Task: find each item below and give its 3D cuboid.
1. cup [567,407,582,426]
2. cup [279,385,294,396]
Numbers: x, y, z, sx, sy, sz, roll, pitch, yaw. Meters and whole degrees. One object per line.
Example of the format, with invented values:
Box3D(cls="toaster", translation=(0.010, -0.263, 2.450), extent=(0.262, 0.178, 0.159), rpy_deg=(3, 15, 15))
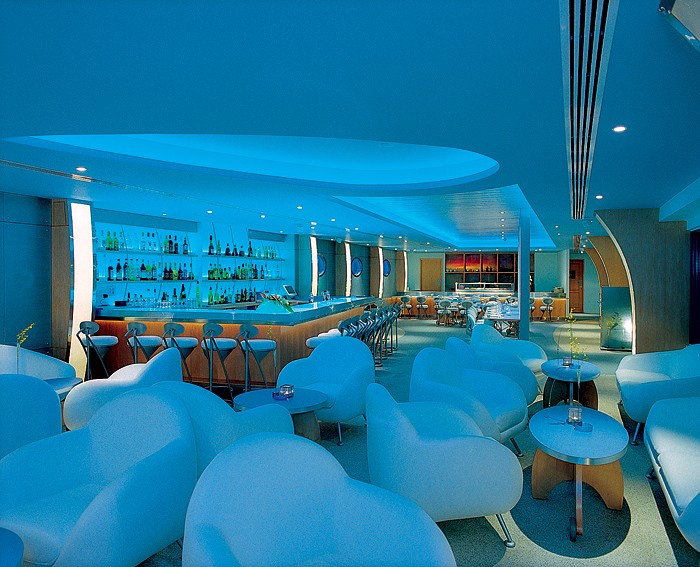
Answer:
Box3D(cls="cup", translation=(1.657, 0.981, 3.622), extent=(0.125, 0.146, 0.078), rpy_deg=(0, 0, 13))
Box3D(cls="cup", translation=(-0.529, 0.889, 4.151), extent=(0.096, 0.074, 0.098), rpy_deg=(-1, 2, 0))
